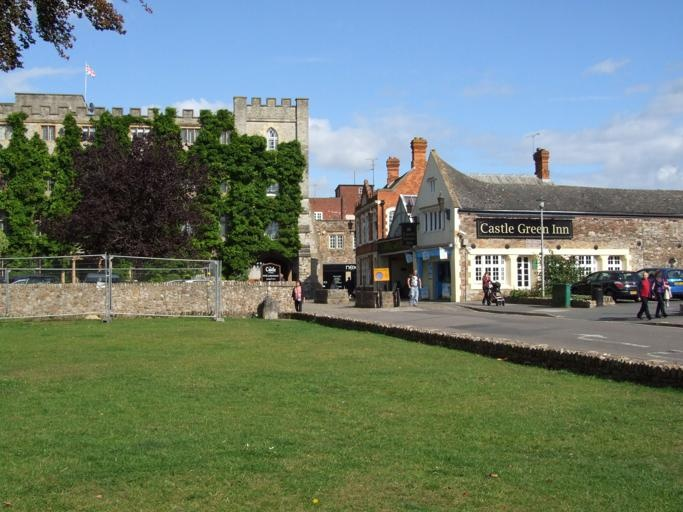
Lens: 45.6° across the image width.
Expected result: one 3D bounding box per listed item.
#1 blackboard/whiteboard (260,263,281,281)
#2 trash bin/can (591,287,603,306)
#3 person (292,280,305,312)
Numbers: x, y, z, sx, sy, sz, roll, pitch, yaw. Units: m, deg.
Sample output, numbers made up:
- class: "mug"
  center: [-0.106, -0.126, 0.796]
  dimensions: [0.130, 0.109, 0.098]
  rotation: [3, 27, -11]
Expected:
- class: "blackboard/whiteboard"
  center: [-5.177, 1.251, 58.572]
  dimensions: [1.285, 1.343, 0.180]
  rotation: [3, -38, -15]
- class: "trash bin/can"
  center: [11.347, 1.843, 35.822]
  dimensions: [0.499, 0.849, 1.074]
  rotation: [5, 13, 17]
- class: "person"
  center: [-1.986, 1.935, 36.984]
  dimensions: [0.398, 1.282, 1.194]
  rotation: [0, 12, -8]
